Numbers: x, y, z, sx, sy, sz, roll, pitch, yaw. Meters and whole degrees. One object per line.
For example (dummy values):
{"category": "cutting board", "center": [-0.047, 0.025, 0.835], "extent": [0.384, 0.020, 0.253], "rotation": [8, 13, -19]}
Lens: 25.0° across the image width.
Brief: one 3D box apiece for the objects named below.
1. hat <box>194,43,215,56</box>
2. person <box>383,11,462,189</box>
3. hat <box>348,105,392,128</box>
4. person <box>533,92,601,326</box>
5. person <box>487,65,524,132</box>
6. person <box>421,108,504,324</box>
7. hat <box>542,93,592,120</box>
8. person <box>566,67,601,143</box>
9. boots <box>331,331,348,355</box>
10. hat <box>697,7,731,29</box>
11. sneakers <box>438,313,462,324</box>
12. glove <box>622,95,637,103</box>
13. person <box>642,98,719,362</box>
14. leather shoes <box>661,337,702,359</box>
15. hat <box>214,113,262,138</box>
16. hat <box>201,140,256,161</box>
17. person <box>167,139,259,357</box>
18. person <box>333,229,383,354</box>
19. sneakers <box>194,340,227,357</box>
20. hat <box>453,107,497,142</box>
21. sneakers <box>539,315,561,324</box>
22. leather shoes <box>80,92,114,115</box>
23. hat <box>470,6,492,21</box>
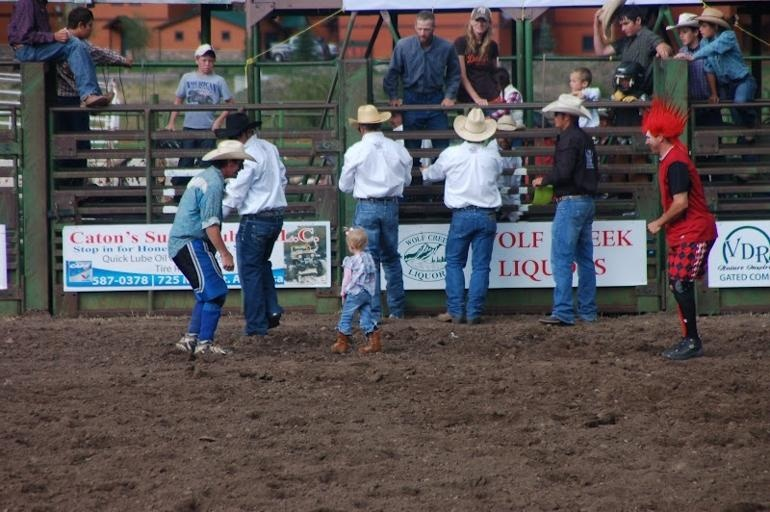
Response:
{"category": "hat", "center": [-2.909, -3.285, 27.468], "extent": [0.289, 0.177, 0.422], "rotation": [-3, 5, -6]}
{"category": "person", "center": [0.552, -2.326, 26.607], "extent": [1.085, 2.871, 0.951], "rotation": [-2, 23, -2]}
{"category": "hat", "center": [-0.260, -2.106, 25.573], "extent": [0.607, 0.305, 0.689], "rotation": [-2, 5, -2]}
{"category": "person", "center": [2.692, -0.679, 25.318], "extent": [0.861, 3.395, 0.464], "rotation": [-4, 4, -21]}
{"category": "person", "center": [1.862, -2.534, 27.102], "extent": [0.584, 1.060, 0.405], "rotation": [-4, 17, 14]}
{"category": "person", "center": [1.196, -0.587, 25.559], "extent": [1.003, 3.185, 0.347], "rotation": [-2, 4, 2]}
{"category": "hat", "center": [2.620, -2.212, 25.258], "extent": [0.482, 0.226, 0.421], "rotation": [5, 10, -2]}
{"category": "person", "center": [3.022, -2.162, 26.715], "extent": [0.396, 1.456, 0.591], "rotation": [-13, 12, -39]}
{"category": "boots", "center": [-0.625, 1.221, 24.316], "extent": [0.159, 0.354, 0.335], "rotation": [-4, 20, -34]}
{"category": "hat", "center": [5.045, -3.658, 26.309], "extent": [0.427, 0.178, 0.376], "rotation": [22, -5, -11]}
{"category": "sneakers", "center": [0.929, 0.946, 25.675], "extent": [0.348, 0.175, 0.141], "rotation": [13, 15, 34]}
{"category": "glove", "center": [3.683, -2.392, 26.095], "extent": [0.216, 0.102, 0.285], "rotation": [-2, 5, 8]}
{"category": "person", "center": [4.024, -0.354, 23.533], "extent": [0.896, 3.517, 0.534], "rotation": [-1, 4, 10]}
{"category": "leather shoes", "center": [4.023, 1.260, 23.549], "extent": [0.553, 0.282, 0.246], "rotation": [-2, 6, -6]}
{"category": "hat", "center": [-2.114, -1.893, 24.825], "extent": [0.399, 0.194, 0.455], "rotation": [-21, 3, 25]}
{"category": "hat", "center": [-2.233, -1.500, 24.481], "extent": [0.405, 0.197, 0.481], "rotation": [-5, 3, -34]}
{"category": "person", "center": [-2.523, -0.102, 24.052], "extent": [1.064, 2.992, 0.417], "rotation": [-3, 4, -9]}
{"category": "person", "center": [-0.442, 0.468, 24.252], "extent": [0.641, 1.751, 0.607], "rotation": [-2, 4, 5]}
{"category": "sneakers", "center": [-2.492, 1.320, 24.221], "extent": [0.515, 0.248, 0.185], "rotation": [1, 1, -4]}
{"category": "hat", "center": [1.299, -1.954, 25.608], "extent": [0.618, 0.517, 0.481], "rotation": [-2, 5, 2]}
{"category": "sneakers", "center": [2.426, 0.964, 25.430], "extent": [0.293, 0.141, 0.125], "rotation": [7, 0, 4]}
{"category": "leather shoes", "center": [-4.415, -2.347, 26.177], "extent": [0.198, 0.244, 0.521], "rotation": [0, -6, -39]}
{"category": "hat", "center": [1.442, -3.766, 26.625], "extent": [0.292, 0.217, 0.288], "rotation": [-2, 5, 3]}
